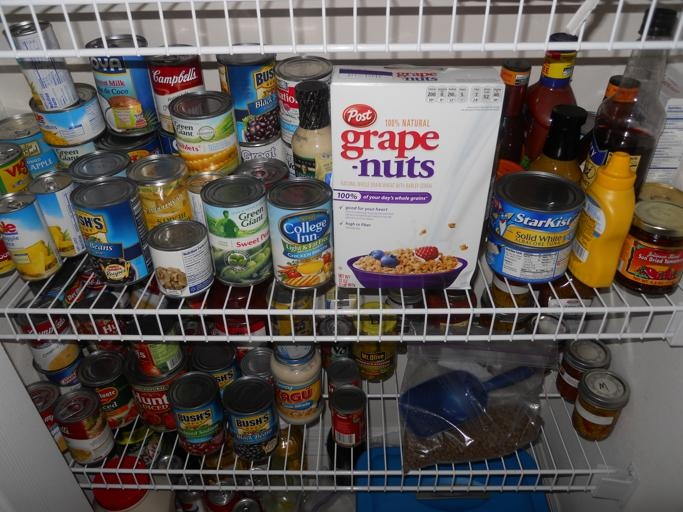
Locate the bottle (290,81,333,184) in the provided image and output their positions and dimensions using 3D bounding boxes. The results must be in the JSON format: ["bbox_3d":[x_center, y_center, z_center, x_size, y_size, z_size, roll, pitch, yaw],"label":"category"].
[{"bbox_3d":[-0.062,-0.253,1.133,0.090,0.196,0.145,-5,40,0],"label":"bottle"}]
